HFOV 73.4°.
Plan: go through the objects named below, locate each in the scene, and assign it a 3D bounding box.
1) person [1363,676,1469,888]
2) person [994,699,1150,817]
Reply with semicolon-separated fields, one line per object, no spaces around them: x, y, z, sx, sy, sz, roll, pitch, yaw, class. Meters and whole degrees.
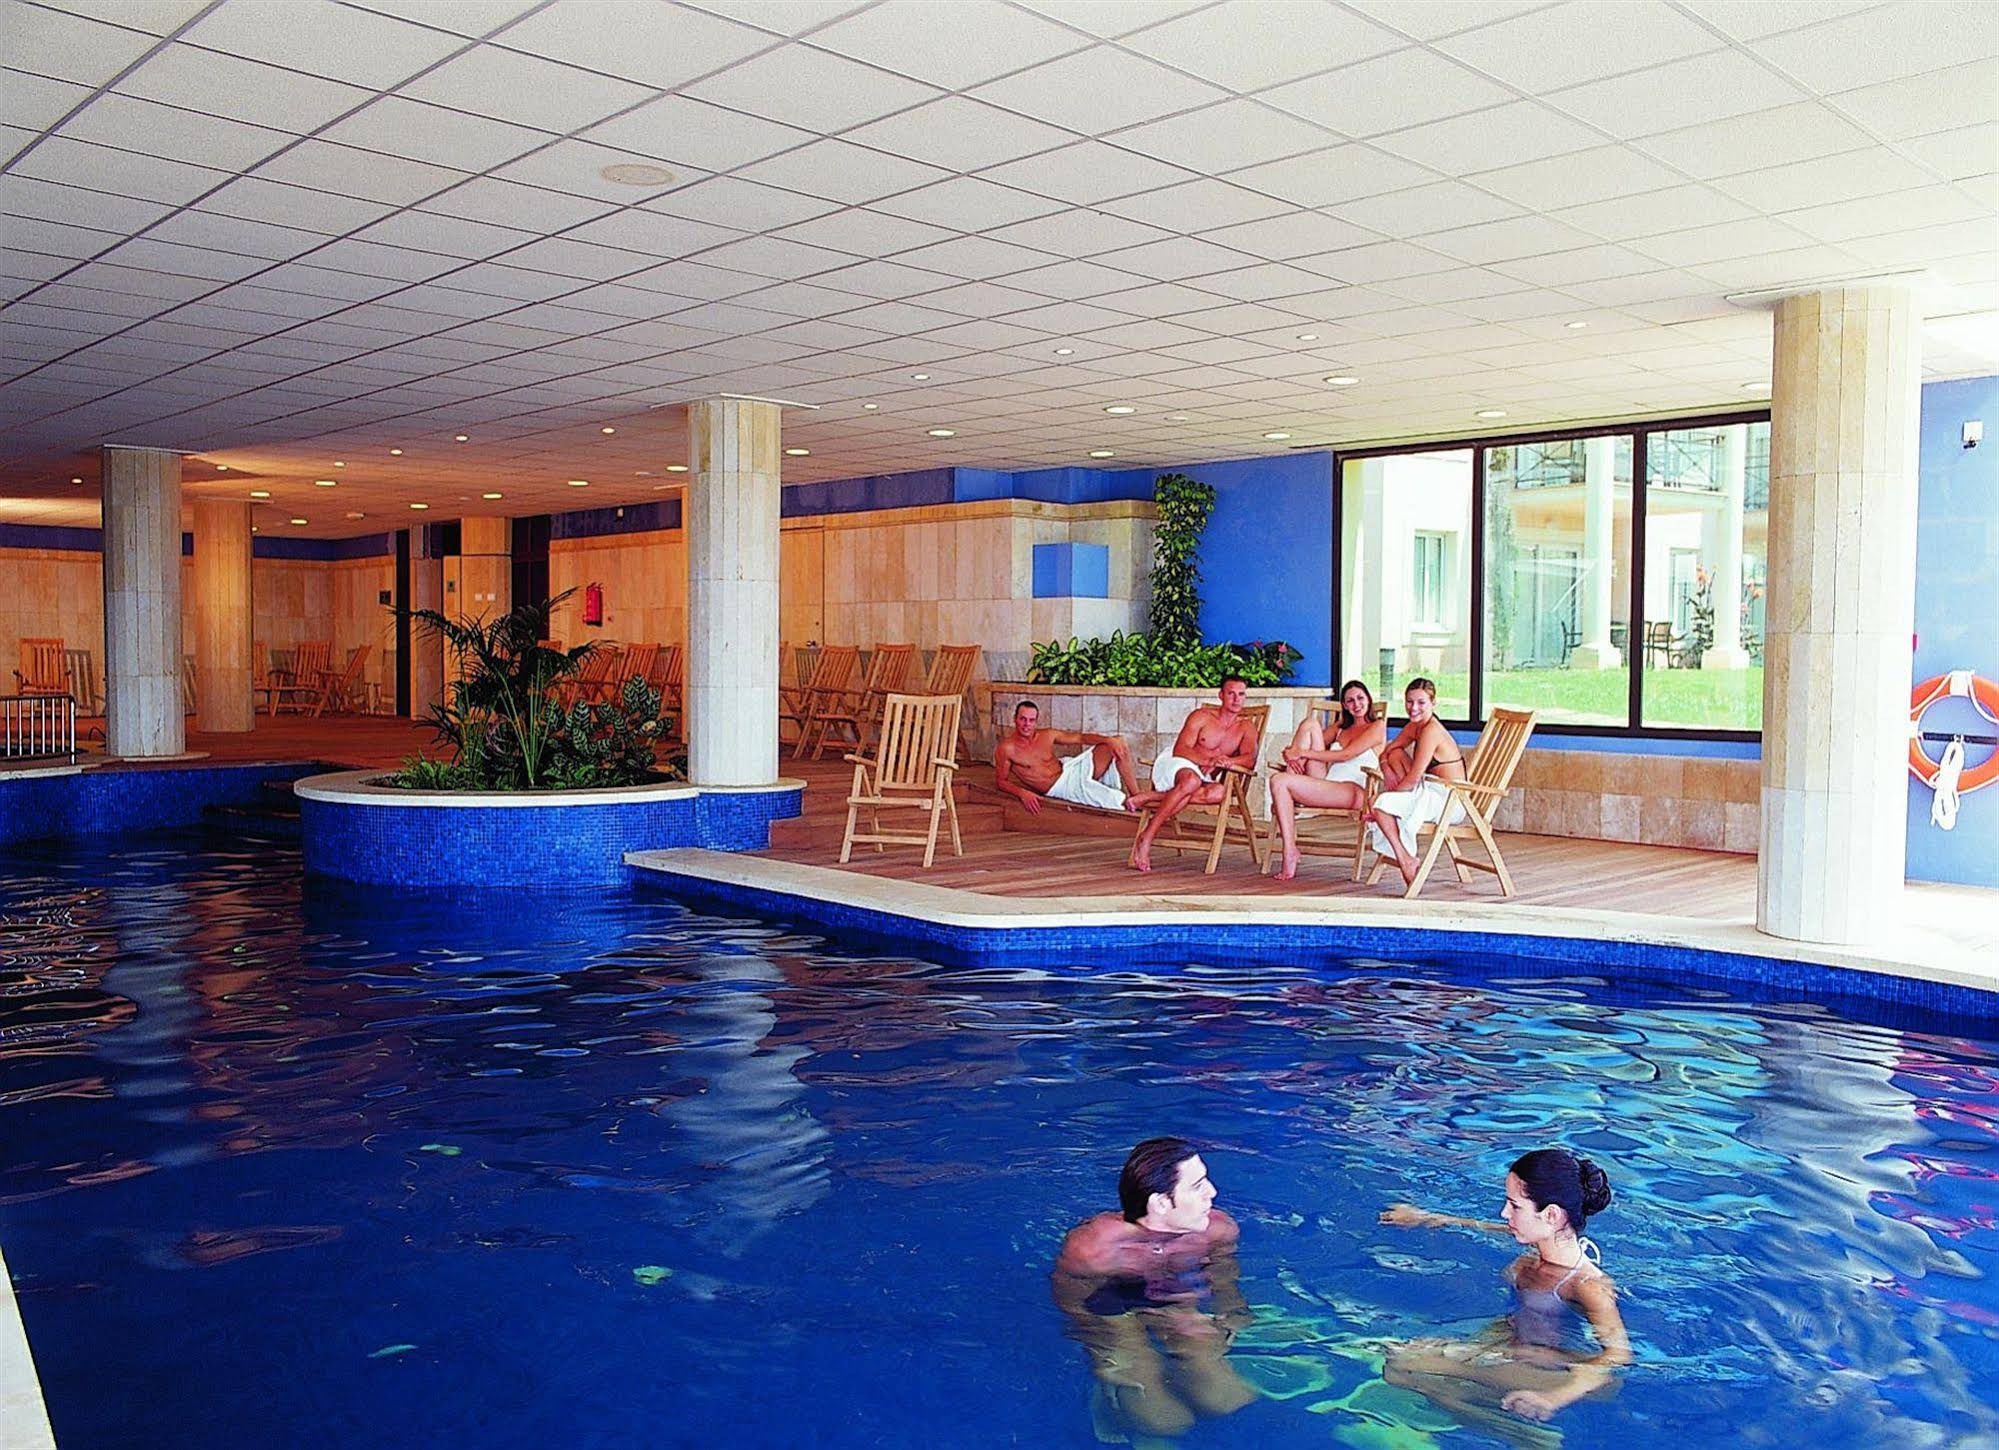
2.890;0.367;9.230;0.587;1.349;0.913;2;8;15;person
0.664;0.301;11.689;1.512;0.714;0.749;11;34;42;person
